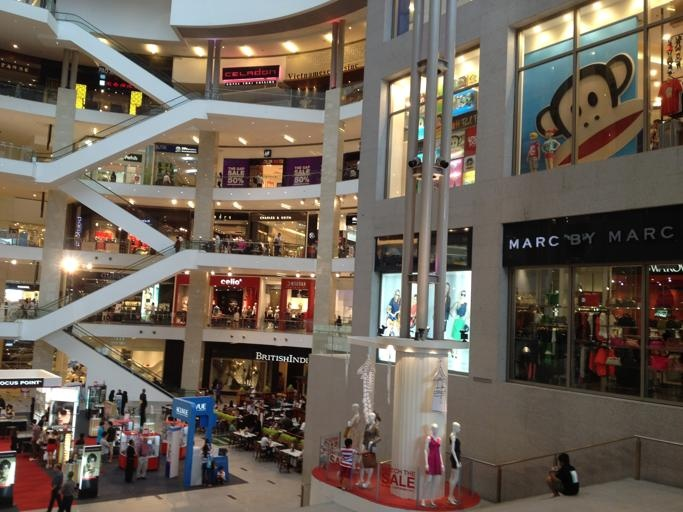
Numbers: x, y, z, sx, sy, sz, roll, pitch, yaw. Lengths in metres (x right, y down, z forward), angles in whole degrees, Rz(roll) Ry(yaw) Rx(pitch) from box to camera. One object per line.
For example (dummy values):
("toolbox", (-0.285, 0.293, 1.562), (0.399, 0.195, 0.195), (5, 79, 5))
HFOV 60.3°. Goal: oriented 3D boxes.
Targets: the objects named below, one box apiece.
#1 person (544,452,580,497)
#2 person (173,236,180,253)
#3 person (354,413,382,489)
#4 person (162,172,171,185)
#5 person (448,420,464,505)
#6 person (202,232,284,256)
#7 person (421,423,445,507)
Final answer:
("person", (4.604, 4.573, 12.373), (0.485, 0.863, 0.893), (0, -10, -2))
("person", (-8.462, -0.546, 30.775), (0.345, 0.904, 0.789), (3, -11, -18))
("person", (0.654, 4.888, 14.930), (0.395, 1.761, 0.524), (17, -20, -35))
("person", (-9.866, -4.438, 33.643), (0.494, 0.770, 0.203), (-1, -10, 4))
("person", (2.683, 4.939, 14.164), (0.347, 1.851, 0.596), (-2, -10, 10))
("person", (-5.172, -0.518, 31.431), (4.070, 1.108, 0.936), (0, -10, -1))
("person", (2.111, 4.931, 14.056), (0.543, 1.823, 0.693), (-2, -10, 9))
